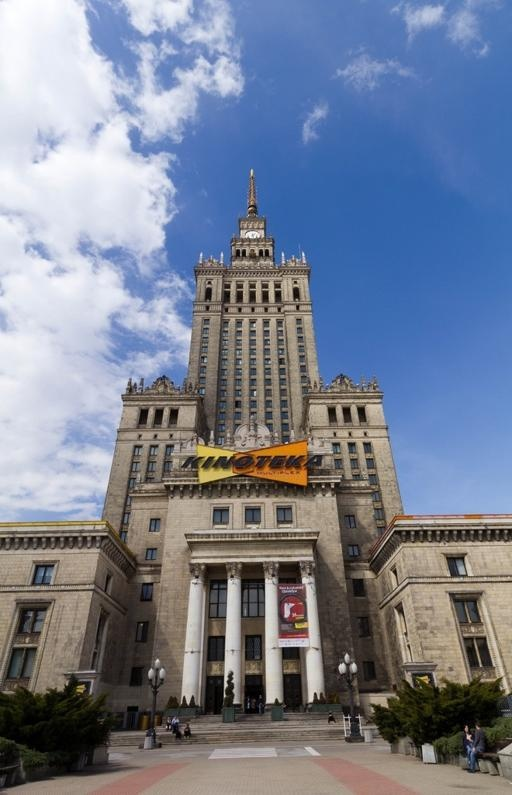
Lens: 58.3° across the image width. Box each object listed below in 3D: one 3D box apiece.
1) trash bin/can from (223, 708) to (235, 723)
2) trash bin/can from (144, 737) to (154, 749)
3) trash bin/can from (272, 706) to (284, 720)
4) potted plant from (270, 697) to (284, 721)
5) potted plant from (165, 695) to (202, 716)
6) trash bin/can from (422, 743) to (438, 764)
[{"bbox_3d":[-1.598,22.082,32.050,0.722,0.890,0.964,-4,-32,4],"label":"trash bin/can"},{"bbox_3d":[-5.151,19.005,25.336,0.459,0.551,1.045,5,-34,-9],"label":"trash bin/can"},{"bbox_3d":[1.416,22.215,32.439,0.784,0.856,1.041,-2,-33,1],"label":"trash bin/can"},{"bbox_3d":[1.449,22.339,32.880,1.020,1.511,1.206,-2,-18,4],"label":"potted plant"},{"bbox_3d":[-4.878,23.571,35.149,1.426,0.994,1.566,-6,-38,7],"label":"potted plant"},{"bbox_3d":[5.630,13.004,16.818,0.517,0.527,0.445,-22,-37,29],"label":"trash bin/can"}]
